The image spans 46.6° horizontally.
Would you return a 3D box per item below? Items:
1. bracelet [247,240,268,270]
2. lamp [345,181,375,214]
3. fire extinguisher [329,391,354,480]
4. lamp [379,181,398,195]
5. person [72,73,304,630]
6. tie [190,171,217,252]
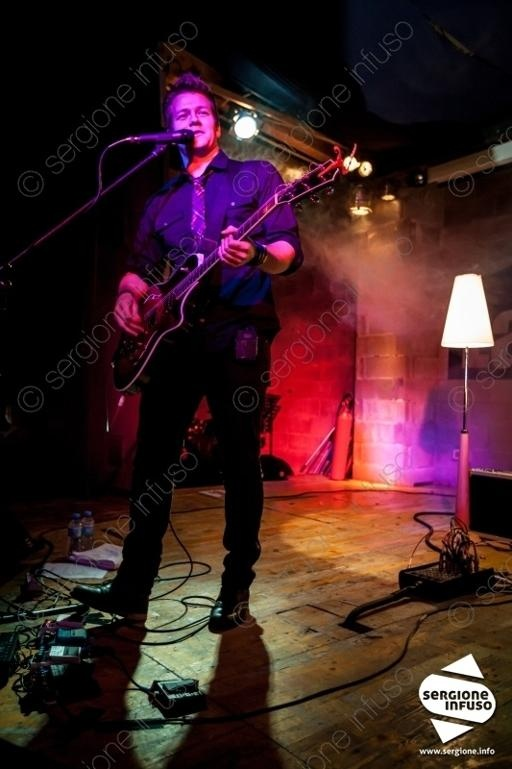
[{"bbox_3d":[0.007,-0.326,1.487,0.043,0.055,0.055,1,25,-6],"label":"bracelet"},{"bbox_3d":[0.898,-1.609,5.153,0.239,0.300,0.203,-1,-5,6],"label":"lamp"},{"bbox_3d":[0.752,0.461,5.257,0.174,0.744,0.314,-1,-3,27],"label":"fire extinguisher"},{"bbox_3d":[1.116,-1.653,4.987,0.126,0.118,0.118,0,-14,7],"label":"lamp"},{"bbox_3d":[-0.168,-0.108,1.739,0.645,1.619,0.346,-1,-3,40],"label":"person"},{"bbox_3d":[-0.154,-0.475,1.716,0.043,0.324,0.049,1,-12,0],"label":"tie"}]
